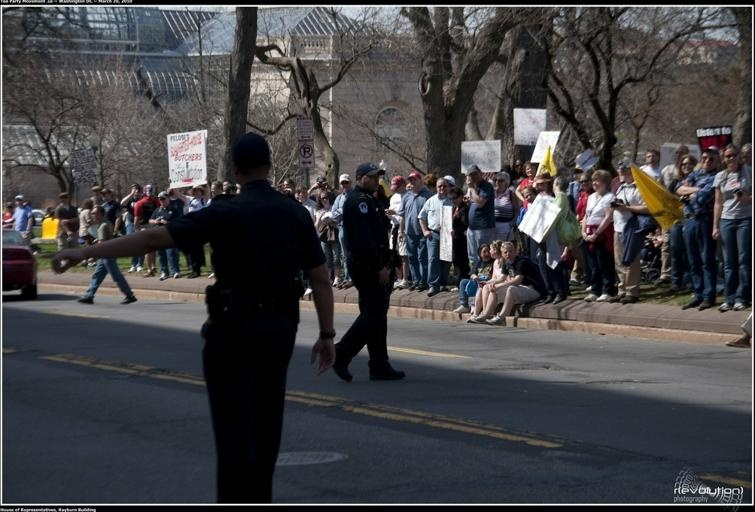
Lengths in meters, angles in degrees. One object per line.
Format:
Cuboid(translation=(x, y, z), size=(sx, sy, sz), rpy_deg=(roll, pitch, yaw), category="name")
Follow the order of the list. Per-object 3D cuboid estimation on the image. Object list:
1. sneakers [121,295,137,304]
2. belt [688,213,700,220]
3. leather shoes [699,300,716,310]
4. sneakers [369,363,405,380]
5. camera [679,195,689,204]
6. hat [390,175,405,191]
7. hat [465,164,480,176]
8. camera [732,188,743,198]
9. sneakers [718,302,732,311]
Cuboid(translation=(-5.248, 0.916, 19.844), size=(0.411, 0.171, 0.150), rpy_deg=(0, 5, 3), category="sneakers")
Cuboid(translation=(5.293, -0.673, 16.026), size=(0.038, 0.109, 0.189), rpy_deg=(-8, 15, -32), category="belt")
Cuboid(translation=(5.412, 0.800, 15.769), size=(0.173, 0.145, 0.421), rpy_deg=(12, 17, 43), category="leather shoes")
Cuboid(translation=(0.091, 1.538, 12.546), size=(0.515, 0.206, 0.180), rpy_deg=(-2, -2, 2), category="sneakers")
Cuboid(translation=(5.161, -0.986, 16.127), size=(0.114, 0.166, 0.309), rpy_deg=(2, 12, 7), category="camera")
Cuboid(translation=(0.390, -1.576, 19.533), size=(0.268, 0.205, 0.355), rpy_deg=(6, 41, 8), category="hat")
Cuboid(translation=(1.788, -1.658, 17.882), size=(0.253, 0.122, 0.352), rpy_deg=(-4, -1, 21), category="hat")
Cuboid(translation=(5.687, -1.017, 15.109), size=(0.100, 0.106, 0.062), rpy_deg=(-6, -13, 12), category="camera")
Cuboid(translation=(5.603, 0.832, 15.438), size=(0.130, 0.085, 0.172), rpy_deg=(0, 2, -3), category="sneakers")
